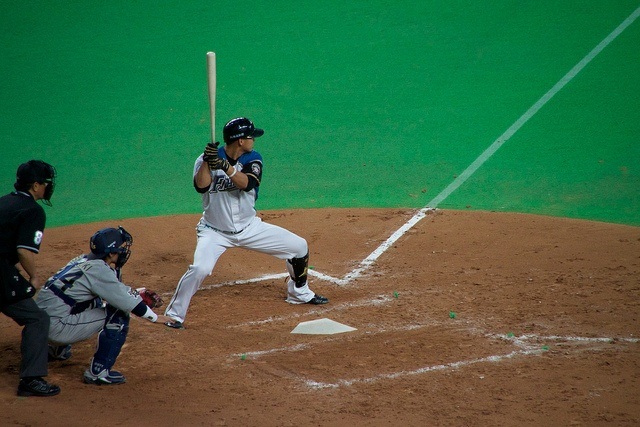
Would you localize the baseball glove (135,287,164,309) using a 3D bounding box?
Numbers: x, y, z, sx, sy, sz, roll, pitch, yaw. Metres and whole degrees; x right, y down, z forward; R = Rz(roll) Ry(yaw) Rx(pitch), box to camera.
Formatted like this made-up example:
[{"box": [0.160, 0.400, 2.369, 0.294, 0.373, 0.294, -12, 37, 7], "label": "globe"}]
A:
[{"box": [-2.461, 1.237, 11.860, 0.462, 0.148, 0.231, 23, -31, -10], "label": "baseball glove"}]

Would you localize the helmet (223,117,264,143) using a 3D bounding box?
[{"box": [-1.251, -1.309, 12.693, 0.683, 0.248, 0.361, -11, 25, -7], "label": "helmet"}]

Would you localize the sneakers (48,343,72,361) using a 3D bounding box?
[{"box": [-3.650, 1.989, 11.833, 0.506, 0.156, 0.134, 1, 24, -7], "label": "sneakers"}]

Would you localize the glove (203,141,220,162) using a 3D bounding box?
[{"box": [-1.616, -0.910, 12.266, 0.204, 0.308, 0.200, 6, 11, -10], "label": "glove"}]
